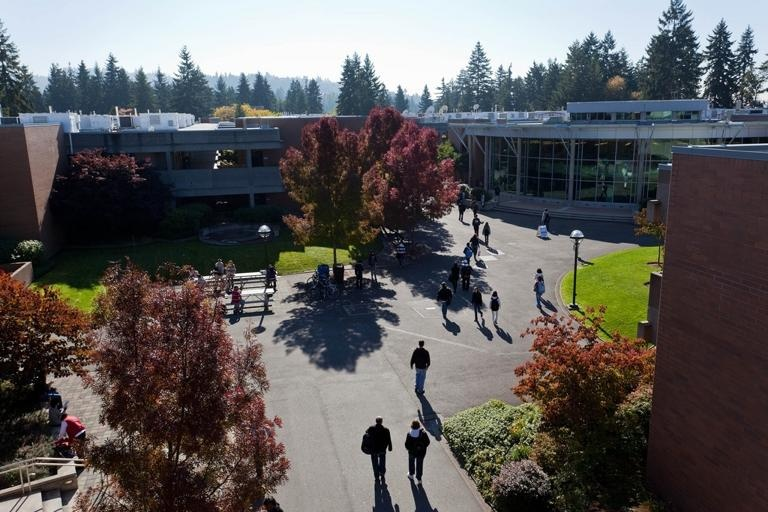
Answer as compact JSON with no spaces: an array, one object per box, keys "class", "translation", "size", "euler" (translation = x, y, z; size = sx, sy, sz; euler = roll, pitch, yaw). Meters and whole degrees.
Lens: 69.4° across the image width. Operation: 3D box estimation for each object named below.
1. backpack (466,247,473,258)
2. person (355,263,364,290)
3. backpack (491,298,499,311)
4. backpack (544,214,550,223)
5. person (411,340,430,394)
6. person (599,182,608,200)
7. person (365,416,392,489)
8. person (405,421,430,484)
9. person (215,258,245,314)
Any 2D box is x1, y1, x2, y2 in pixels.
[{"class":"backpack","translation":[4.917,-0.207,32.323],"size":[0.276,0.529,0.665],"euler":[4,14,22]},{"class":"person","translation":[-1.358,1.135,30.254],"size":[0.319,1.374,0.451],"euler":[-4,13,-11]},{"class":"backpack","translation":[5.071,2.228,25.362],"size":[0.472,0.544,0.294],"euler":[6,21,21]},{"class":"backpack","translation":[12.239,-2.793,41.532],"size":[0.210,0.885,1.027],"euler":[6,15,29]},{"class":"person","translation":[1.340,3.909,20.424],"size":[0.597,2.061,1.301],"euler":[0,13,4]},{"class":"person","translation":[19.224,-5.555,48.406],"size":[0.625,1.528,0.185],"euler":[4,13,22]},{"class":"person","translation":[-0.223,5.647,16.230],"size":[0.835,2.081,0.602],"euler":[-3,13,-7]},{"class":"person","translation":[0.981,5.641,16.269],"size":[0.622,1.902,0.467],"euler":[1,13,10]},{"class":"person","translation":[-7.414,1.532,26.794],"size":[1.061,0.621,2.568],"euler":[-1,33,-18]}]
